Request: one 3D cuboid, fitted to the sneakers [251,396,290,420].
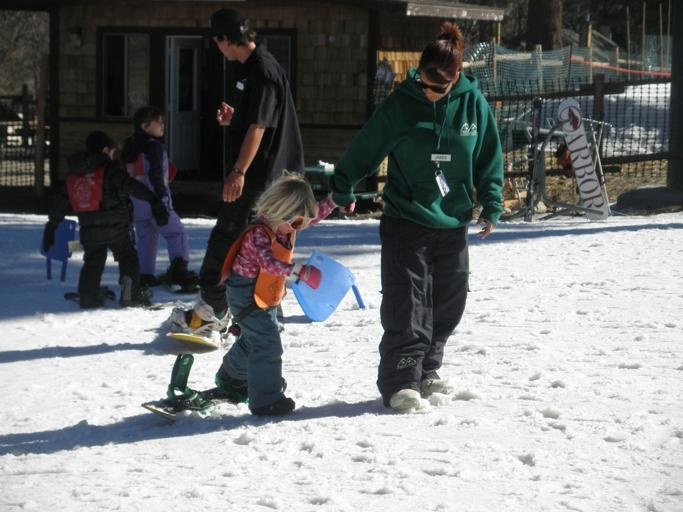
[{"bbox_3d":[-0.457,0.986,5.893,0.191,0.081,0.142,-8,-1,-3],"label":"sneakers"}]

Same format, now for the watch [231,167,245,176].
[{"bbox_3d":[-0.785,-0.631,6.651,0.074,0.027,0.058,23,13,-48],"label":"watch"}]

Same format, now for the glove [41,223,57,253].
[{"bbox_3d":[-2.829,-0.166,8.595,0.088,0.366,0.101,5,36,-32],"label":"glove"}]

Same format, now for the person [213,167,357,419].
[{"bbox_3d":[-0.508,0.249,5.925,0.744,1.583,0.366,0,5,3],"label":"person"}]

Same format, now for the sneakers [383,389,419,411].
[{"bbox_3d":[0.410,0.951,5.905,0.135,0.081,0.171,-13,-9,26],"label":"sneakers"}]

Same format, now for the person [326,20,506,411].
[{"bbox_3d":[0.531,-0.268,6.050,1.141,2.556,0.530,0,5,-1],"label":"person"}]

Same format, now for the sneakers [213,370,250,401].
[{"bbox_3d":[-0.770,0.894,6.219,0.225,0.227,0.175,5,0,17],"label":"sneakers"}]

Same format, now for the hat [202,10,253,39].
[{"bbox_3d":[-0.874,-1.770,6.851,0.338,0.265,0.207,0,5,1],"label":"hat"}]

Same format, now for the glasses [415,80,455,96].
[{"bbox_3d":[0.613,-1.115,5.879,0.247,0.090,0.135,0,5,-5],"label":"glasses"}]

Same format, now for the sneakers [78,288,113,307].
[{"bbox_3d":[-2.275,0.374,8.295,0.128,0.160,0.379,6,15,29],"label":"sneakers"}]

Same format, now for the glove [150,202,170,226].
[{"bbox_3d":[-1.681,-0.393,8.158,0.139,0.221,0.268,-1,5,-13],"label":"glove"}]

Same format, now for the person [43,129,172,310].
[{"bbox_3d":[-2.177,-0.339,8.176,1.118,1.603,0.466,-1,5,-10],"label":"person"}]
